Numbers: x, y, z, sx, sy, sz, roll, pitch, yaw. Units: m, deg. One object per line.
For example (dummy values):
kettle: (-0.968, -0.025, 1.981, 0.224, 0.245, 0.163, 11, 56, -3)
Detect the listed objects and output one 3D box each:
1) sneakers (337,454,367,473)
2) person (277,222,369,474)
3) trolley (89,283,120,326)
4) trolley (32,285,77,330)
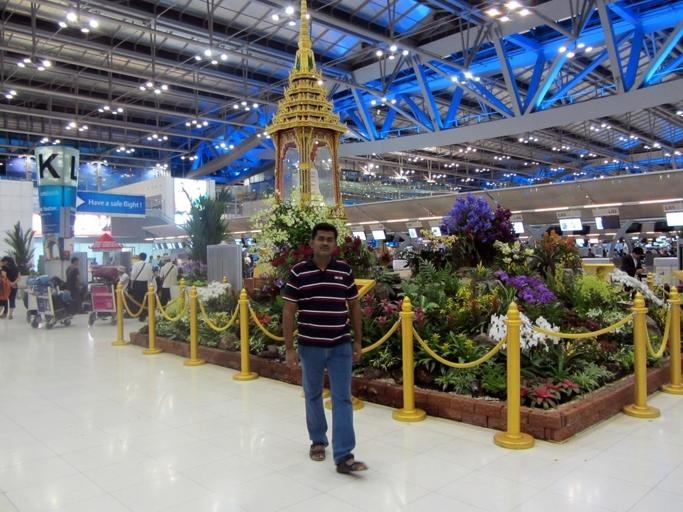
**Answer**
sneakers: (0.026, 1.841, 4.136, 0.362, 0.135, 0.115, -12, -13, 35)
person: (-0.159, 0.807, 4.170, 0.700, 2.178, 0.418, -2, 2, 0)
trolley: (-6.572, 1.325, 13.392, 0.946, 1.169, 1.037, -1, 4, 10)
trolley: (-7.930, 1.455, 13.171, 1.475, 1.192, 1.384, -2, -6, 16)
